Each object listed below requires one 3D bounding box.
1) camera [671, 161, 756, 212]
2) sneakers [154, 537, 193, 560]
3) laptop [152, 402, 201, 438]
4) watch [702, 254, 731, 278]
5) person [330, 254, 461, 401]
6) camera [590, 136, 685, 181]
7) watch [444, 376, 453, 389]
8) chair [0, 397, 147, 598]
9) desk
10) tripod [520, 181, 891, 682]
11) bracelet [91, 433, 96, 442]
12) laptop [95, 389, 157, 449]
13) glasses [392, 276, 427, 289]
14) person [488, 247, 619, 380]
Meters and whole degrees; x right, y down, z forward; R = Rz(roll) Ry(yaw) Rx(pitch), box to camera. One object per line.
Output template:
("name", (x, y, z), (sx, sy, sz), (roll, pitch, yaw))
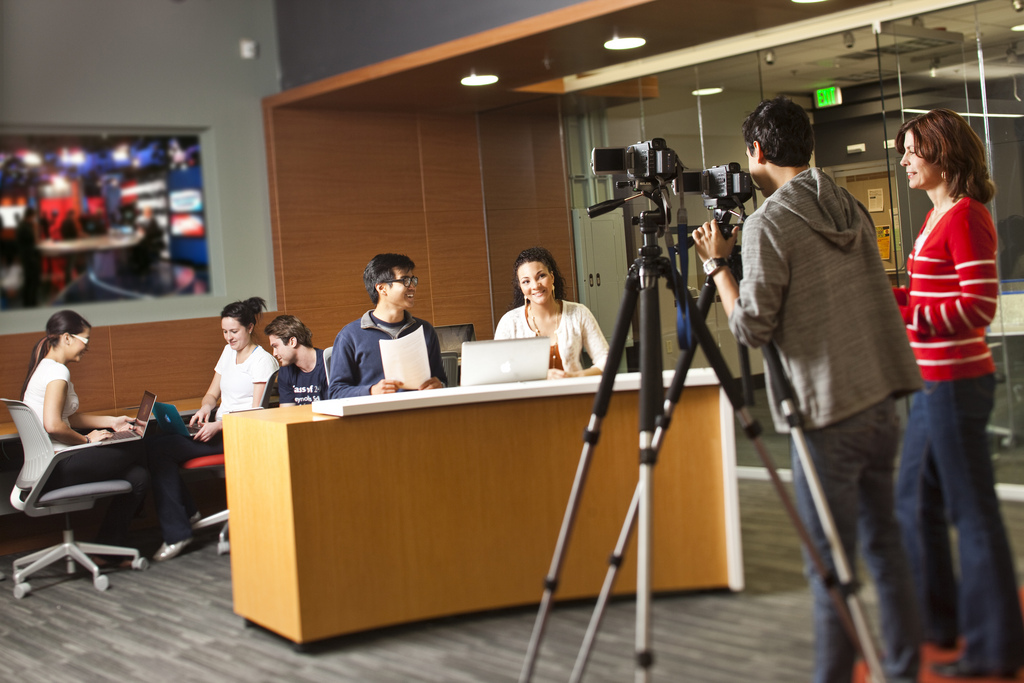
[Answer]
("camera", (0.790, -0.655, 3.174), (0.227, 0.106, 0.256), (-8, 17, -18))
("sneakers", (-2.565, 1.600, 6.109), (0.120, 0.134, 0.327), (-3, -5, 35))
("laptop", (-2.660, 0.606, 6.276), (0.373, 0.279, 0.227), (12, 19, 32))
("watch", (0.778, -0.314, 3.082), (0.101, 0.063, 0.100), (4, -36, -47))
("person", (-0.722, -0.006, 5.048), (0.847, 1.108, 0.664), (2, -1, -26))
("camera", (0.463, -0.686, 2.972), (0.330, 0.162, 0.402), (-11, 16, -38))
("watch", (-0.403, 0.260, 4.974), (0.048, 0.042, 0.039), (3, 7, 9))
("chair", (-3.334, 1.169, 6.276), (1.202, 1.786, 1.392), (-1, -3, -27))
("desk", (0.074, 0.920, 4.924), (2.669, 1.316, 1.231), (-3, -2, -14))
("tripod", (0.644, 0.323, 2.924), (1.157, 1.979, 0.735), (-6, 5, -23))
("bracelet", (-3.047, 0.703, 5.776), (0.008, 0.032, 0.033), (-1, -1, 24))
("laptop", (-2.853, 0.562, 5.827), (0.497, 0.325, 0.465), (1, 5, 39))
("glasses", (-0.635, -0.367, 4.926), (0.221, 0.093, 0.109), (-6, 5, -19))
("person", (0.225, -0.062, 5.425), (0.873, 1.098, 0.679), (-7, 14, 7))
